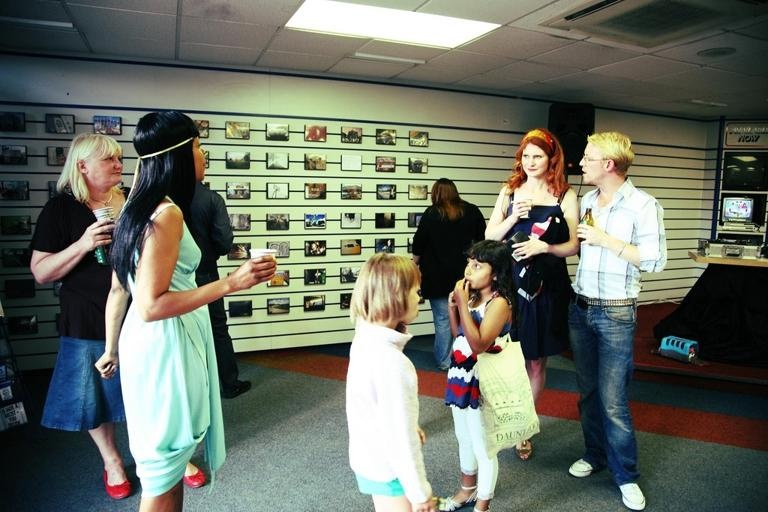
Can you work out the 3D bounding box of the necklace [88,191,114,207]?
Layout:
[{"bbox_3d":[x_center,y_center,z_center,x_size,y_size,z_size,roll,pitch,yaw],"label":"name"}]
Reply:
[{"bbox_3d":[-2.183,-0.433,3.958,0.129,0.093,0.132,1,5,18],"label":"necklace"}]

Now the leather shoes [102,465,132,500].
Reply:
[{"bbox_3d":[-2.126,1.819,4.078,0.125,0.124,0.328,6,-8,-43],"label":"leather shoes"}]

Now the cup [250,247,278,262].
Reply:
[{"bbox_3d":[-0.729,-0.014,3.055,0.147,0.107,0.150,1,2,0],"label":"cup"}]

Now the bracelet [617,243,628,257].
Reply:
[{"bbox_3d":[1.835,-0.045,3.976,0.097,0.090,0.097,1,10,17],"label":"bracelet"}]

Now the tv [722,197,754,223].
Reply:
[{"bbox_3d":[6.132,-0.790,8.825,0.466,0.429,0.261,4,2,43],"label":"tv"}]

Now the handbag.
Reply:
[{"bbox_3d":[0.881,0.973,3.650,0.429,0.789,0.239,-4,11,-21],"label":"handbag"}]

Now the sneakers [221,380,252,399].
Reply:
[{"bbox_3d":[-1.543,1.376,5.399,0.161,0.092,0.270,6,13,33],"label":"sneakers"}]

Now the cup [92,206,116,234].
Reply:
[{"bbox_3d":[-2.032,-0.271,3.697,0.137,0.127,0.128,0,8,0],"label":"cup"}]

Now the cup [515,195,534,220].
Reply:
[{"bbox_3d":[1.156,-0.405,4.237,0.149,0.185,0.213,3,10,13],"label":"cup"}]

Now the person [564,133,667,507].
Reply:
[{"bbox_3d":[1.810,0.477,4.056,0.727,2.855,0.543,8,13,34],"label":"person"}]

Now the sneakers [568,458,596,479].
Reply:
[{"bbox_3d":[1.640,1.774,4.245,0.246,0.088,0.099,5,-5,-13],"label":"sneakers"}]
